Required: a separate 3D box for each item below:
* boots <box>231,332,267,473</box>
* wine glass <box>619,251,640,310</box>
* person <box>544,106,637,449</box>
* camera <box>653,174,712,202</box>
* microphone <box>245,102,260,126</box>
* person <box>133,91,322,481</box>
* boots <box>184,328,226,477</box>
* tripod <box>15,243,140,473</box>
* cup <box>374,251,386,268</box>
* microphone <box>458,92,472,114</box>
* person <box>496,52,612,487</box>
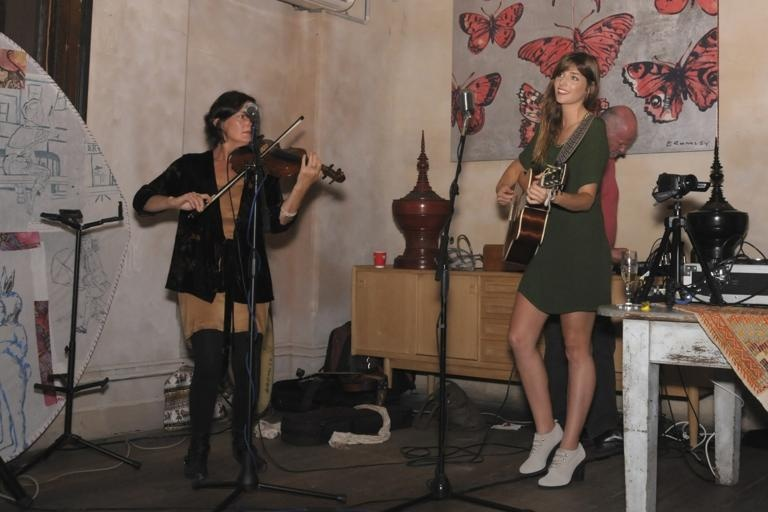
[{"bbox_3d":[-0.755,0.807,4.872,0.129,0.746,0.175,3,3,8],"label":"boots"},{"bbox_3d":[1.240,0.110,4.465,0.088,0.284,0.390,2,9,15],"label":"wine glass"},{"bbox_3d":[0.916,0.040,4.714,0.600,2.365,0.946,1,-5,7],"label":"person"},{"bbox_3d":[1.532,-0.349,4.521,0.255,0.142,0.175,-1,0,-8],"label":"camera"},{"bbox_3d":[-0.677,-0.731,4.643,0.091,0.138,0.048,15,33,30],"label":"microphone"},{"bbox_3d":[-0.914,0.095,4.917,1.249,2.759,0.746,1,-1,-28],"label":"person"},{"bbox_3d":[-0.988,0.779,4.910,0.216,0.873,0.228,0,16,8],"label":"boots"},{"bbox_3d":[-1.848,0.547,5.964,1.034,2.065,1.025,-1,2,-20],"label":"tripod"},{"bbox_3d":[-0.036,0.034,6.290,0.091,0.112,0.095,1,-3,0],"label":"cup"},{"bbox_3d":[0.427,-0.795,4.634,0.089,0.158,0.100,0,-1,-1],"label":"microphone"},{"bbox_3d":[0.978,0.073,4.973,0.687,2.245,0.647,1,0,20],"label":"person"}]
